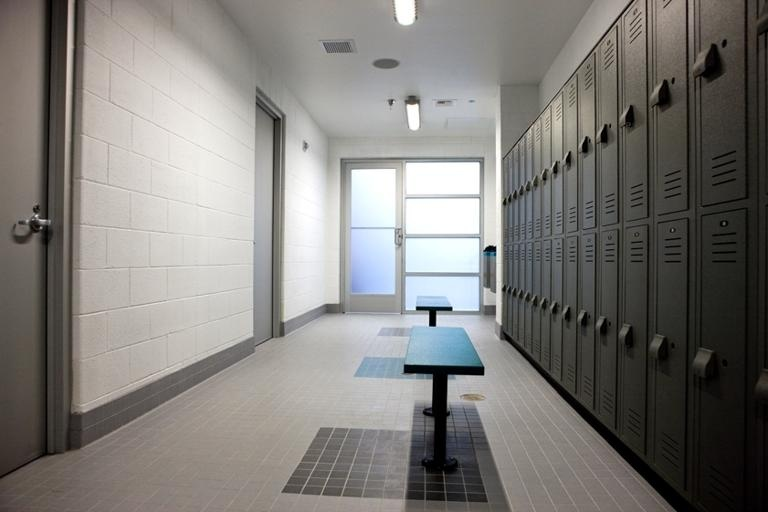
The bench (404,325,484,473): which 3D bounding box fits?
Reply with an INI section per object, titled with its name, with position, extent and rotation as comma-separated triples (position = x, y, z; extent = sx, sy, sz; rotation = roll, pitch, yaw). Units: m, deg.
[bench]
position = 0.375, 0.925, 3.142
extent = 0.450, 0.712, 0.860
rotation = 1, 6, 6
